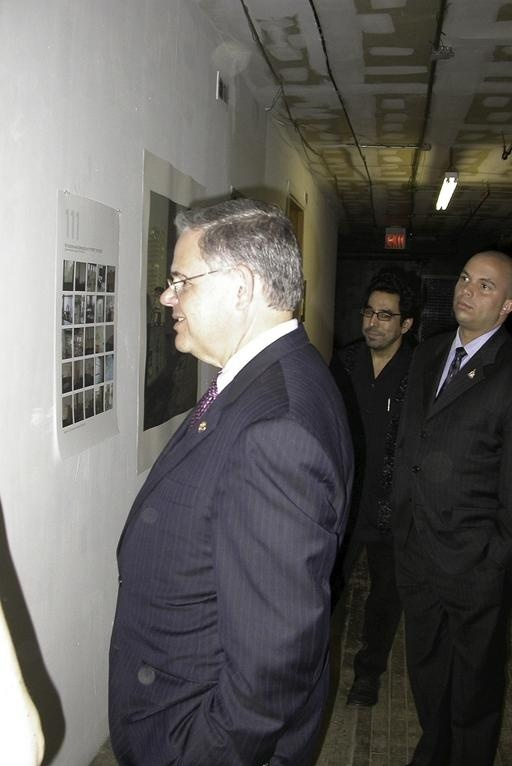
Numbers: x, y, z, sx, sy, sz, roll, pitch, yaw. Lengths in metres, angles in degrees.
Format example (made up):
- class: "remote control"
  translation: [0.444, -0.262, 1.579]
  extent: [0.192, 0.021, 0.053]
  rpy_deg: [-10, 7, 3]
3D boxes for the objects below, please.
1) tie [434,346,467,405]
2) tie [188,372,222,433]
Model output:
- class: "tie"
  translation: [0.702, -0.045, 2.121]
  extent: [0.048, 0.025, 0.360]
  rpy_deg: [-3, 39, 35]
- class: "tie"
  translation: [-0.099, 0.039, 1.118]
  extent: [0.022, 0.091, 0.065]
  rpy_deg: [26, -9, 1]
